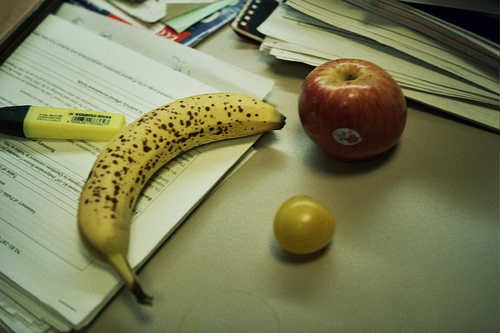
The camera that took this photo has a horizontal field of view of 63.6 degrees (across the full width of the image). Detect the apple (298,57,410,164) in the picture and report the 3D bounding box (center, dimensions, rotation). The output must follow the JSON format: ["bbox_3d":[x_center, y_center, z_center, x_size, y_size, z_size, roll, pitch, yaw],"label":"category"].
[{"bbox_3d":[0.180,-0.109,0.746,0.190,0.188,0.154,4,-42,21],"label":"apple"}]
